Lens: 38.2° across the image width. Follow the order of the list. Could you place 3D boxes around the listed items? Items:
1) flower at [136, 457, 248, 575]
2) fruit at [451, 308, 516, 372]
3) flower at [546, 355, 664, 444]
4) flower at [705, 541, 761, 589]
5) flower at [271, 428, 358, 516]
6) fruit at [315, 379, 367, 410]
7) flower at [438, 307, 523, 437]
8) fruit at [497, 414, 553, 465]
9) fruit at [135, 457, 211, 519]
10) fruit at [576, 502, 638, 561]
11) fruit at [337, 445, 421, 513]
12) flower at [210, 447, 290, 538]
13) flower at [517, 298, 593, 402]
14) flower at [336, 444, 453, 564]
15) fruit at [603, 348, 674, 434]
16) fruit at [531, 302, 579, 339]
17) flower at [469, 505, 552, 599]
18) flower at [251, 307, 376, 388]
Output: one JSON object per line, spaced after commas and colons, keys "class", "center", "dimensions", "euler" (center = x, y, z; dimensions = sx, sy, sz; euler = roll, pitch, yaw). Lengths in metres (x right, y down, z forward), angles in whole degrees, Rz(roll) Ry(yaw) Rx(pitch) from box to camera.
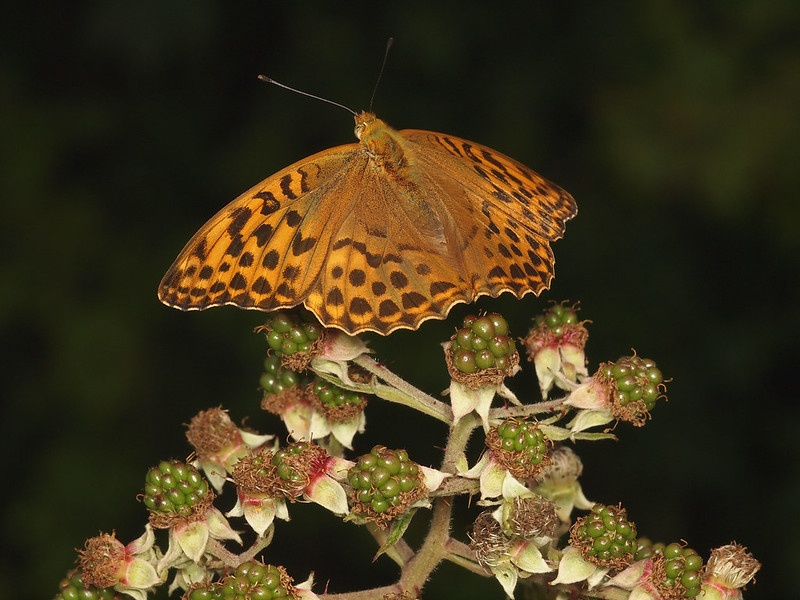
{"class": "flower", "center": [-0.752, 0.816, 4.565], "dimensions": [0.451, 0.317, 0.363], "euler": [62, -28, 6]}
{"class": "fruit", "center": [0.315, 0.161, 4.488], "dimensions": [0.213, 0.282, 0.147], "euler": [23, -39, 29]}
{"class": "flower", "center": [0.837, 0.366, 4.566], "dimensions": [0.383, 0.204, 0.220], "euler": [-5, -68, 8]}
{"class": "flower", "center": [1.276, 1.012, 4.461], "dimensions": [0.205, 0.218, 0.155], "euler": [19, -86, 18]}
{"class": "flower", "center": [-0.348, 0.652, 4.503], "dimensions": [0.423, 0.336, 0.156], "euler": [5, -56, -15]}
{"class": "fruit", "center": [-0.258, 0.370, 4.729], "dimensions": [0.140, 0.115, 0.070], "euler": [29, -91, -19]}
{"class": "flower", "center": [0.333, 0.255, 4.478], "dimensions": [0.345, 0.461, 0.233], "euler": [13, -42, -3]}
{"class": "fruit", "center": [0.480, 0.529, 4.373], "dimensions": [0.163, 0.079, 0.172], "euler": [-7, -103, -6]}
{"class": "fruit", "center": [-0.871, 0.714, 4.494], "dimensions": [0.260, 0.182, 0.223], "euler": [-4, -68, 7]}
{"class": "fruit", "center": [0.797, 0.916, 4.477], "dimensions": [0.247, 0.326, 0.227], "euler": [0, -77, 15]}
{"class": "fruit", "center": [-0.057, 0.676, 4.299], "dimensions": [0.211, 0.149, 0.260], "euler": [-6, -54, 2]}
{"class": "flower", "center": [-0.550, 0.743, 4.528], "dimensions": [0.277, 0.117, 0.307], "euler": [-16, -93, 0]}
{"class": "flower", "center": [0.683, 0.187, 4.886], "dimensions": [0.243, 0.137, 0.392], "euler": [0, -110, 21]}
{"class": "flower", "center": [-0.064, 0.683, 4.389], "dimensions": [0.448, 0.219, 0.433], "euler": [-23, -65, 4]}
{"class": "fruit", "center": [0.949, 0.359, 4.656], "dimensions": [0.305, 0.401, 0.261], "euler": [4, -61, -2]}
{"class": "fruit", "center": [0.658, 0.085, 4.850], "dimensions": [0.133, 0.141, 0.047], "euler": [5, -27, 25]}
{"class": "flower", "center": [0.418, 0.966, 4.377], "dimensions": [0.323, 0.215, 0.220], "euler": [26, -67, -5]}
{"class": "flower", "center": [-0.364, 0.181, 4.640], "dimensions": [0.398, 0.183, 0.263], "euler": [29, -99, 11]}
